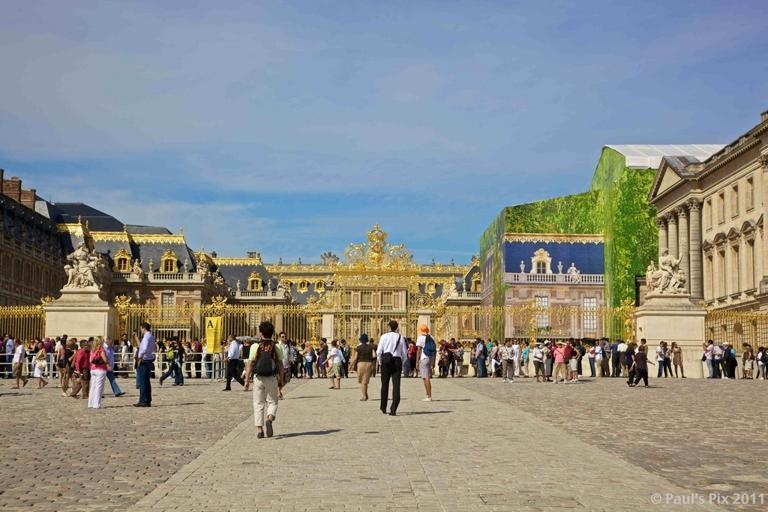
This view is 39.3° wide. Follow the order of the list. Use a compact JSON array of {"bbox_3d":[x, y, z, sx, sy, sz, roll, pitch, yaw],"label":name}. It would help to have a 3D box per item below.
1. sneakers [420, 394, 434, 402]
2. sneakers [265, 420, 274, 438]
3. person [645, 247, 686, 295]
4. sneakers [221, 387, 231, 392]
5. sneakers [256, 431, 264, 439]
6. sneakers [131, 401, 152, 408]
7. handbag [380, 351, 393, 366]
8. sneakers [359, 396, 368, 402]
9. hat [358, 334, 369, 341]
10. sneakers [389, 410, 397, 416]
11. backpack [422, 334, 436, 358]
[{"bbox_3d":[1.129,3.839,28.464,0.386,0.226,0.134,-1,-6,34],"label":"sneakers"},{"bbox_3d":[-2.347,3.594,21.935,0.150,0.372,0.155,-3,-1,5],"label":"sneakers"},{"bbox_3d":[10.708,0.735,40.997,1.379,1.766,0.879,-4,-10,15],"label":"person"},{"bbox_3d":[-4.771,4.118,32.495,0.263,0.171,0.112,4,-4,3],"label":"sneakers"},{"bbox_3d":[-2.503,3.688,21.836,0.167,0.136,0.215,0,-10,-7],"label":"sneakers"},{"bbox_3d":[-6.137,3.841,27.229,0.470,0.196,0.162,5,-7,6],"label":"sneakers"},{"bbox_3d":[0.056,2.534,26.123,0.319,0.292,0.305,2,-7,-5],"label":"handbag"},{"bbox_3d":[-0.552,3.919,28.930,0.207,0.136,0.086,6,-11,-2],"label":"sneakers"},{"bbox_3d":[-0.549,2.281,29.060,0.215,0.112,0.242,3,7,14],"label":"hat"},{"bbox_3d":[0.214,3.759,25.237,0.214,0.111,0.429,-1,-10,-1],"label":"sneakers"},{"bbox_3d":[1.191,2.398,28.205,0.274,0.620,0.671,-4,-10,18],"label":"backpack"}]
